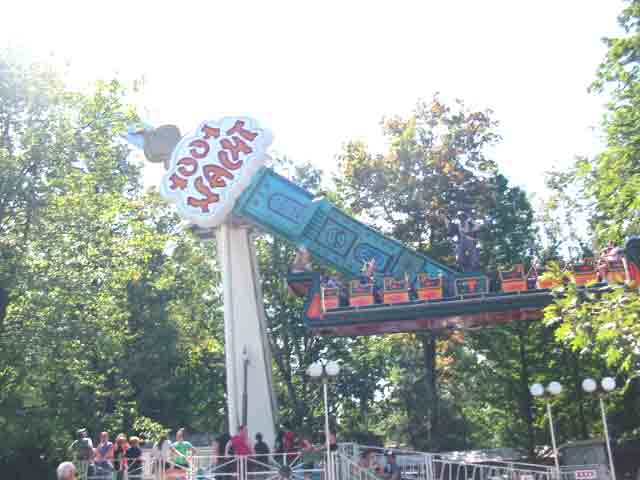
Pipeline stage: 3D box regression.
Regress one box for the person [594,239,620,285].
[{"bbox_3d":[10.919,0.909,40.373,1.088,1.488,0.646,-13,-22,30],"label":"person"}]
